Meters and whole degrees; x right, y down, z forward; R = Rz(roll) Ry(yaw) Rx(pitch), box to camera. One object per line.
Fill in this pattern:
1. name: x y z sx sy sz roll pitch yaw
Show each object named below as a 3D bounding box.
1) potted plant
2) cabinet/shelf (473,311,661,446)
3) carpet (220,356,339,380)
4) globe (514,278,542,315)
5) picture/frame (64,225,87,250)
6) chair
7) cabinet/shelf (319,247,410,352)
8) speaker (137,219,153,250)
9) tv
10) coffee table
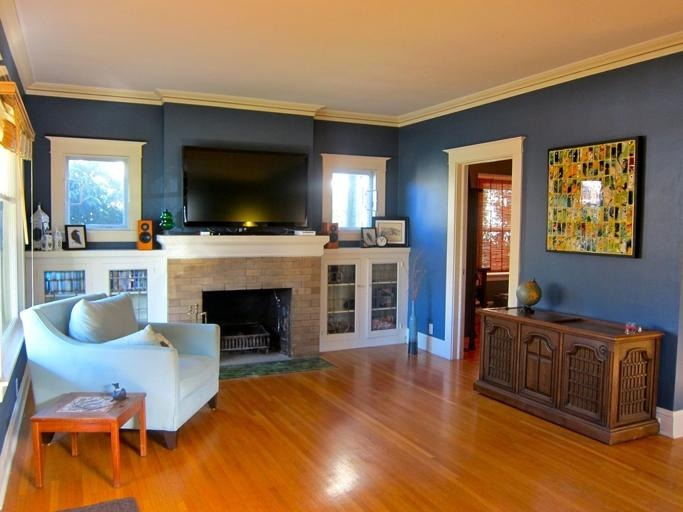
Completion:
1. potted plant: 0.925 0.624 6.670 0.295 1.267 0.262 -1 -3 18
2. cabinet/shelf: 1.948 1.017 4.721 0.547 0.865 1.458 -2 4 -33
3. carpet: -0.745 1.269 5.810 1.270 0.041 0.527 -2 8 -23
4. globe: 1.824 0.400 4.953 0.185 0.301 0.312 8 10 43
5. picture/frame: -2.877 -0.189 5.556 0.255 0.366 0.025 0 -5 -30
6. chair: -1.750 0.906 4.341 1.369 1.053 1.332 0 1 -13
7. cabinet/shelf: 0.256 0.549 6.642 1.252 1.238 0.486 0 0 -24
8. speaker: -2.172 -0.220 5.691 0.151 0.314 0.126 -3 8 -23
9. tv: -1.190 -0.764 5.930 1.045 0.712 0.102 -1 9 -22
10. coffee table: -1.732 1.257 3.598 0.624 0.526 0.513 1 8 -1
